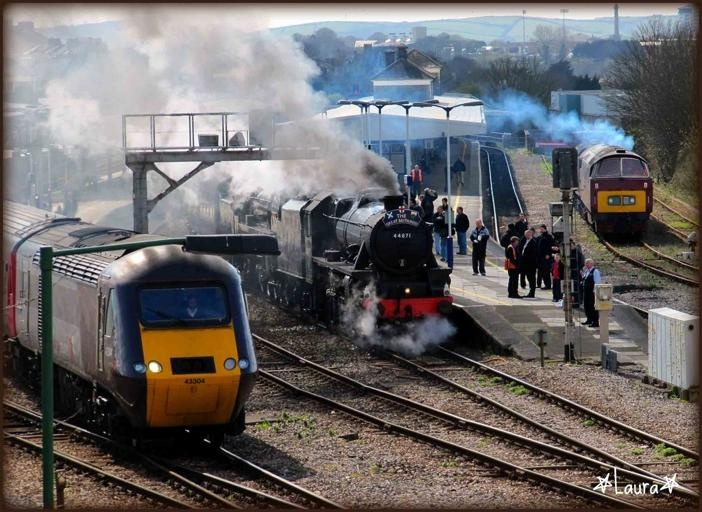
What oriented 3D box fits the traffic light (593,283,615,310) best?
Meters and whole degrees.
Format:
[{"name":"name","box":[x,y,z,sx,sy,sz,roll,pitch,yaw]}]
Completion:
[{"name":"traffic light","box":[6.670,1.054,25.746,0.552,0.762,0.586,0,3,2]}]

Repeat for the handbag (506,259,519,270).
[{"name":"handbag","box":[5.162,0.236,31.139,0.306,0.326,0.299,0,1,-10]}]
